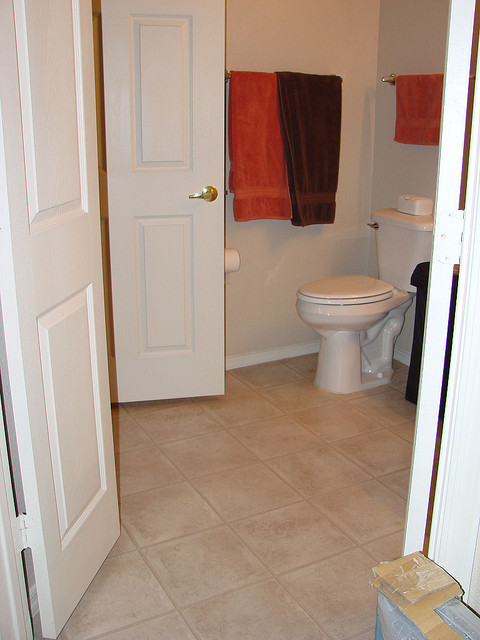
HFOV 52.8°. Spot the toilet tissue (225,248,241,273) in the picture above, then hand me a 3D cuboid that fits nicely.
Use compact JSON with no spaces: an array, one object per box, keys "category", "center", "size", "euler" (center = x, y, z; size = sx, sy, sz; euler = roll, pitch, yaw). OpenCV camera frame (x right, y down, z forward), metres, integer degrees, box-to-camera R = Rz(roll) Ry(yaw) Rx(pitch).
[{"category":"toilet tissue","center":[-0.007,-0.286,2.308],"size":[0.077,0.105,0.156],"euler":[-3,2,16]}]

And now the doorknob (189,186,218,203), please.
[{"category":"doorknob","center":[-0.159,-0.546,2.099],"size":[0.123,0.066,0.024],"euler":[-3,12,-14]}]

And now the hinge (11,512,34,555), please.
[{"category":"hinge","center":[-0.426,0.427,0.966],"size":[0.030,0.092,0.012],"euler":[-23,-16,30]}]

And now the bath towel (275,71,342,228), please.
[{"category":"bath towel","center":[0.374,-0.884,2.546],"size":[0.305,0.837,0.096],"euler":[2,-4,8]}]

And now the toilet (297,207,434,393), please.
[{"category":"toilet","center":[0.654,-0.115,2.571],"size":[0.572,0.950,0.421],"euler":[-5,20,-14]}]

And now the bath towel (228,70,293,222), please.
[{"category":"bath towel","center":[0.113,-0.858,2.431],"size":[0.365,0.695,0.085],"euler":[-5,12,-25]}]

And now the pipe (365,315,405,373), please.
[{"category":"pipe","center":[0.789,0.126,2.717],"size":[0.156,0.374,0.186],"euler":[-3,19,-13]}]
